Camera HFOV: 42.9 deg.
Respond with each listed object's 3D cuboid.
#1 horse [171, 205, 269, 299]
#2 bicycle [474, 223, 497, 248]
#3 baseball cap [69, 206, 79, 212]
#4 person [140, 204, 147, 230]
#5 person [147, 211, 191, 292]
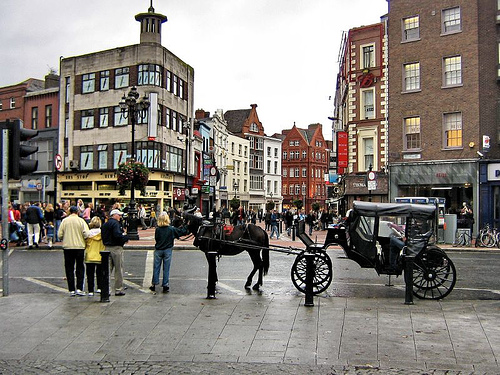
[{"bbox_3d":[-0.909,1.939,19.357,3.127,2.605,0.907,1,0,3],"label":"horse"},{"bbox_3d":[11.851,2.500,32.102,0.658,0.876,1.398,2,2,17],"label":"bicycle"},{"bbox_3d":[-5.256,0.659,18.959,0.204,0.176,0.438,-2,5,-17],"label":"baseball cap"},{"bbox_3d":[-7.579,2.177,44.892,0.384,1.556,2.429,-1,4,-10],"label":"person"},{"bbox_3d":[-2.476,1.900,18.842,0.707,2.324,1.185,1,5,22],"label":"person"}]
